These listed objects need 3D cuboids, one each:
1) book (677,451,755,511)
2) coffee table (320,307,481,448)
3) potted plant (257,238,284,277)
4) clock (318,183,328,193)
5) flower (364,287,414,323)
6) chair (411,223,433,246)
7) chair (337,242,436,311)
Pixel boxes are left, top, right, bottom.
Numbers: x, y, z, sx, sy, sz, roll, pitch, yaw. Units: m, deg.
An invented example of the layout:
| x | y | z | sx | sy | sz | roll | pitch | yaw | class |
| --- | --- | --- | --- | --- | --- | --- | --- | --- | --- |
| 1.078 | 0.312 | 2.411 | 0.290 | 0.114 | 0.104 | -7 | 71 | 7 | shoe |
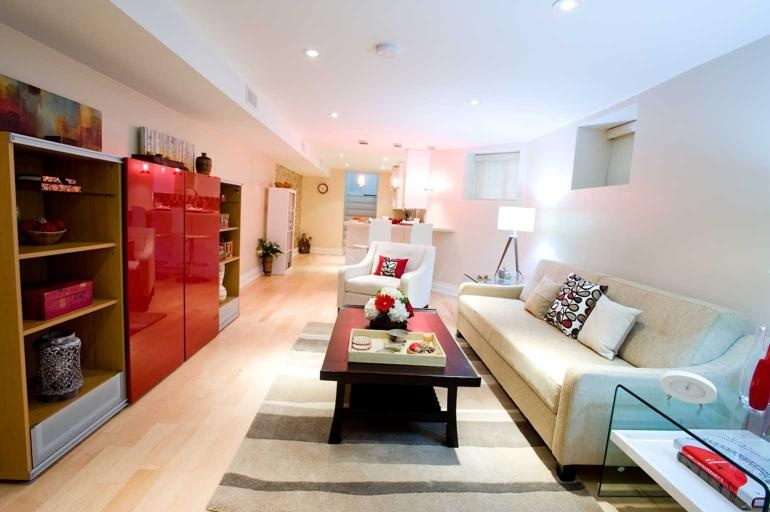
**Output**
| x | y | z | sx | sy | sz | roll | pitch | yaw | class |
| --- | --- | --- | --- | --- | --- | --- | --- | --- | --- |
| 1.936 | 1.313 | 2.857 | 0.169 | 0.071 | 0.307 | 0 | 24 | -27 | book |
| 0.078 | 0.732 | 3.583 | 0.833 | 0.428 | 1.241 | 1 | 7 | -2 | coffee table |
| -1.992 | 0.008 | 8.264 | 0.320 | 0.599 | 0.407 | 5 | 8 | 18 | potted plant |
| -1.586 | -1.727 | 12.249 | 0.291 | 0.252 | 0.041 | 3 | 8 | 2 | clock |
| 0.045 | 0.398 | 4.075 | 0.291 | 0.280 | 0.346 | 3 | -2 | 28 | flower |
| 0.552 | -0.342 | 7.226 | 0.299 | 0.418 | 0.343 | 3 | 2 | 5 | chair |
| 0.009 | 0.223 | 5.921 | 0.968 | 0.904 | 0.953 | 4 | -4 | 21 | chair |
